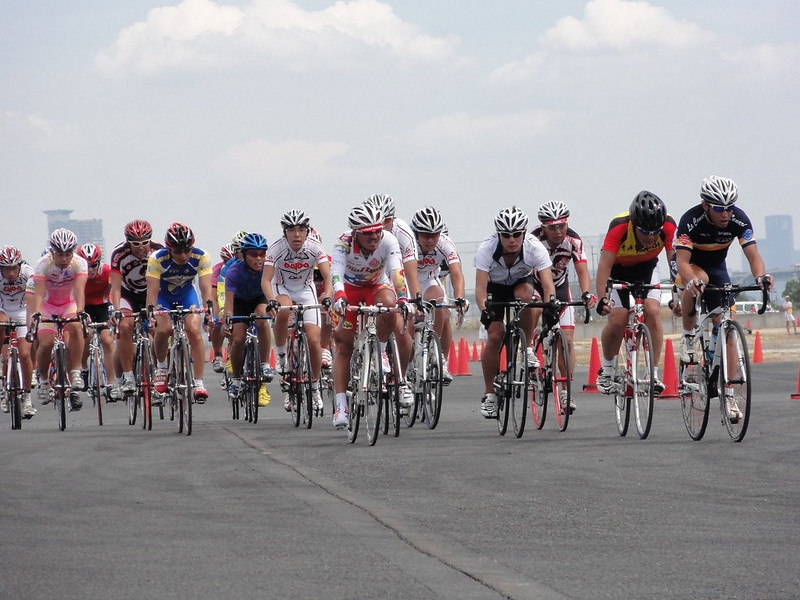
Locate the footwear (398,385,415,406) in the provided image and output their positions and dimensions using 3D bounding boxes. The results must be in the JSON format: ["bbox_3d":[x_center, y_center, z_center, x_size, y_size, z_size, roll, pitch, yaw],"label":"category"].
[{"bbox_3d":[0.060,0.958,12.639,0.117,0.234,0.179,-1,2,2],"label":"footwear"}]

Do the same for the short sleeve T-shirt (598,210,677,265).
[{"bbox_3d":[2.585,-0.597,12.960,0.772,0.410,0.562,12,-37,23],"label":"short sleeve T-shirt"}]

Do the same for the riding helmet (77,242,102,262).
[{"bbox_3d":[-4.371,-0.663,17.829,0.375,0.261,0.664,4,7,-9],"label":"riding helmet"}]

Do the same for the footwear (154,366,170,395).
[{"bbox_3d":[-2.764,0.955,14.684,0.114,0.147,0.350,0,15,-10],"label":"footwear"}]

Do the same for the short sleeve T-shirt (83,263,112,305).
[{"bbox_3d":[-4.283,-0.246,17.946,0.489,0.644,0.339,3,19,-24],"label":"short sleeve T-shirt"}]

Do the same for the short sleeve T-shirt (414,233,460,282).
[{"bbox_3d":[0.425,-0.521,15.489,0.641,0.391,0.694,-4,-32,10],"label":"short sleeve T-shirt"}]

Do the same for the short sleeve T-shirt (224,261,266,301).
[{"bbox_3d":[-1.919,-0.223,15.621,0.600,0.433,0.343,1,7,-43],"label":"short sleeve T-shirt"}]

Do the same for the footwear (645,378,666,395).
[{"bbox_3d":[2.483,0.837,12.291,0.195,0.107,0.322,0,-18,-6],"label":"footwear"}]

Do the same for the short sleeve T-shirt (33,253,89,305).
[{"bbox_3d":[-4.365,-0.266,16.288,0.692,0.442,0.786,2,-22,-18],"label":"short sleeve T-shirt"}]

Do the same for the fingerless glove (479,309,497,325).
[{"bbox_3d":[0.889,0.141,12.633,0.135,0.169,0.179,12,33,-8],"label":"fingerless glove"}]

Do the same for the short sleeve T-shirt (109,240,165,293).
[{"bbox_3d":[-3.330,-0.394,16.171,0.613,0.690,0.338,-7,32,-22],"label":"short sleeve T-shirt"}]

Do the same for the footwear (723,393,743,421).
[{"bbox_3d":[3.073,1.006,11.724,0.110,0.190,0.327,-9,-1,-4],"label":"footwear"}]

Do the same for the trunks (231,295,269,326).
[{"bbox_3d":[-1.925,0.101,15.837,0.370,0.370,0.142,2,14,-5],"label":"trunks"}]

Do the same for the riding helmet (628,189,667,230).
[{"bbox_3d":[2.422,-0.864,12.402,0.342,0.378,0.435,-1,2,10],"label":"riding helmet"}]

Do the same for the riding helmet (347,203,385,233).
[{"bbox_3d":[-0.367,-0.786,12.245,0.319,0.283,0.520,0,2,26],"label":"riding helmet"}]

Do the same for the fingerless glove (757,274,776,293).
[{"bbox_3d":[3.291,-0.152,11.411,0.136,0.189,0.067,-1,-2,-10],"label":"fingerless glove"}]

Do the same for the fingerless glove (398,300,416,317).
[{"bbox_3d":[0.075,0.076,12.113,0.123,0.172,0.077,-5,6,24],"label":"fingerless glove"}]

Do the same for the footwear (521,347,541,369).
[{"bbox_3d":[1.324,0.592,12.710,0.134,0.252,0.107,-12,-10,16],"label":"footwear"}]

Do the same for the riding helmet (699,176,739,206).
[{"bbox_3d":[3.058,-1.039,12.169,0.306,0.289,0.276,-1,2,15],"label":"riding helmet"}]

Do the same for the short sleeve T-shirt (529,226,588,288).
[{"bbox_3d":[1.875,-0.422,15.510,0.740,0.851,0.448,-6,29,-3],"label":"short sleeve T-shirt"}]

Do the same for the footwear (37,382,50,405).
[{"bbox_3d":[-4.866,1.259,17.109,0.200,0.280,0.607,1,-9,-18],"label":"footwear"}]

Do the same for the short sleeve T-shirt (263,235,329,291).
[{"bbox_3d":[-1.269,-0.414,15.378,0.776,0.727,0.432,0,23,-9],"label":"short sleeve T-shirt"}]

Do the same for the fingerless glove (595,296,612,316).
[{"bbox_3d":[2.009,0.044,12.427,0.076,0.159,0.216,7,44,-14],"label":"fingerless glove"}]

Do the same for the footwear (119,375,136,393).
[{"bbox_3d":[-3.329,1.027,15.559,0.142,0.162,0.358,1,-3,-14],"label":"footwear"}]

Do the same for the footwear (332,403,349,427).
[{"bbox_3d":[-0.593,1.190,12.815,0.151,0.238,0.235,-1,2,-3],"label":"footwear"}]

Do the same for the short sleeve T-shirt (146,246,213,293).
[{"bbox_3d":[-2.600,-0.346,14.883,0.895,0.528,0.945,-1,-1,-26],"label":"short sleeve T-shirt"}]

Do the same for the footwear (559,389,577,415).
[{"bbox_3d":[1.717,1.027,12.864,0.115,0.146,0.344,-13,3,-8],"label":"footwear"}]

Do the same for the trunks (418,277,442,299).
[{"bbox_3d":[0.407,-0.160,16.346,0.302,0.220,0.422,-1,5,1],"label":"trunks"}]

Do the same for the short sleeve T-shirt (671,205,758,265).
[{"bbox_3d":[2.990,-0.626,12.088,0.654,0.517,0.443,1,38,0],"label":"short sleeve T-shirt"}]

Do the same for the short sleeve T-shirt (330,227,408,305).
[{"bbox_3d":[-0.354,-0.278,12.708,0.573,0.795,0.758,-4,-42,-8],"label":"short sleeve T-shirt"}]

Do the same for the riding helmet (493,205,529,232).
[{"bbox_3d":[1.127,-0.797,12.789,0.286,0.263,0.298,-1,2,2],"label":"riding helmet"}]
